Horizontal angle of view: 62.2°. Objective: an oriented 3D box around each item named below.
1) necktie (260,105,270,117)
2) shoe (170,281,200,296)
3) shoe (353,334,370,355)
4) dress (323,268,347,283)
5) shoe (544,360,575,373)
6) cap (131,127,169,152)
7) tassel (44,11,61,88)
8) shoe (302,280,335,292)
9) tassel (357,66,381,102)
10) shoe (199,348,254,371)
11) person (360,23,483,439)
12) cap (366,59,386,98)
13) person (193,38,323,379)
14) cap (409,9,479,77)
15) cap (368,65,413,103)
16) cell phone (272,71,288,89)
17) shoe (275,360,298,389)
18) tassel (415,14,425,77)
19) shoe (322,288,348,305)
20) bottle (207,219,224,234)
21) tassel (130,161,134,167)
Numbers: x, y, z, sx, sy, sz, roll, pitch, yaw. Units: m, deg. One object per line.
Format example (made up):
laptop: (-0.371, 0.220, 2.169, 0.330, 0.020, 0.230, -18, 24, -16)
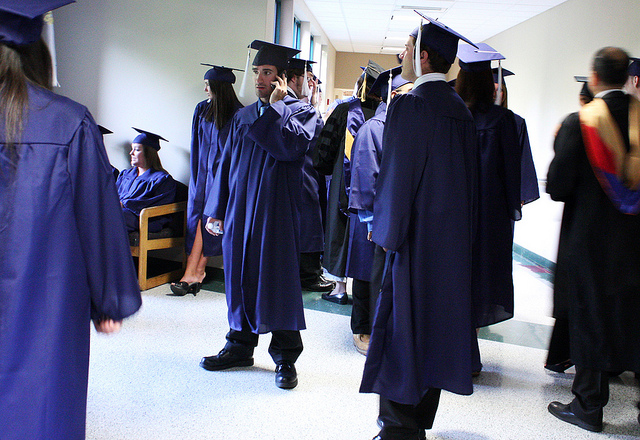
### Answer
necktie: (-0.349, -0.701, 3.370, 0.074, 0.050, 0.082, 5, -10, -12)
shoe: (-1.203, 0.618, 4.782, 0.098, 0.121, 0.263, -8, -19, 31)
shoe: (0.295, 0.882, 3.834, 0.109, 0.111, 0.121, 6, 15, 10)
dress: (0.165, 0.592, 5.553, 0.238, 0.086, 0.183, 10, -9, 8)
shoe: (1.653, 1.005, 3.665, 0.177, 0.064, 0.129, -11, -6, 28)
cap: (-1.588, -0.746, 4.974, 0.238, 0.096, 0.200, 19, 0, 11)
tassel: (-1.290, -0.828, 2.549, 0.074, 0.402, 0.082, -8, -11, -4)
shoe: (-0.011, 0.619, 5.175, 0.313, 0.133, 0.107, -5, 4, 1)
tassel: (0.325, -1.003, 3.971, 0.160, 0.190, 0.140, -7, 23, -36)
shoe: (-0.616, 0.925, 3.584, 0.381, 0.175, 0.132, 4, -3, -13)
person: (0.556, 0.094, 2.789, 0.558, 2.147, 0.659, 4, 15, 6)
cap: (0.379, -1.028, 3.877, 0.137, 0.220, 0.209, 10, 6, -11)
person: (-0.397, -0.050, 3.409, 0.694, 2.077, 0.670, 2, 15, -2)
cap: (0.625, -0.910, 2.794, 0.323, 0.318, 0.270, -1, 15, -14)
cap: (0.482, -0.950, 3.624, 0.262, 0.080, 0.246, -16, 35, 46)
cell phone: (-0.260, -0.902, 3.450, 0.035, 0.159, 0.056, 5, -35, 16)
shoe: (-0.211, 0.969, 3.369, 0.143, 0.139, 0.135, 3, 15, -1)
tassel: (0.503, -0.873, 2.689, 0.047, 0.289, 0.098, 7, 15, 17)
shoe: (0.143, 0.690, 4.855, 0.293, 0.081, 0.137, 15, 19, 39)
bottle: (-0.699, 0.053, 3.557, 0.090, 0.091, 0.037, 0, 15, 2)
tassel: (-1.902, -0.566, 5.374, 0.018, 0.079, 0.020, -25, 47, -8)
